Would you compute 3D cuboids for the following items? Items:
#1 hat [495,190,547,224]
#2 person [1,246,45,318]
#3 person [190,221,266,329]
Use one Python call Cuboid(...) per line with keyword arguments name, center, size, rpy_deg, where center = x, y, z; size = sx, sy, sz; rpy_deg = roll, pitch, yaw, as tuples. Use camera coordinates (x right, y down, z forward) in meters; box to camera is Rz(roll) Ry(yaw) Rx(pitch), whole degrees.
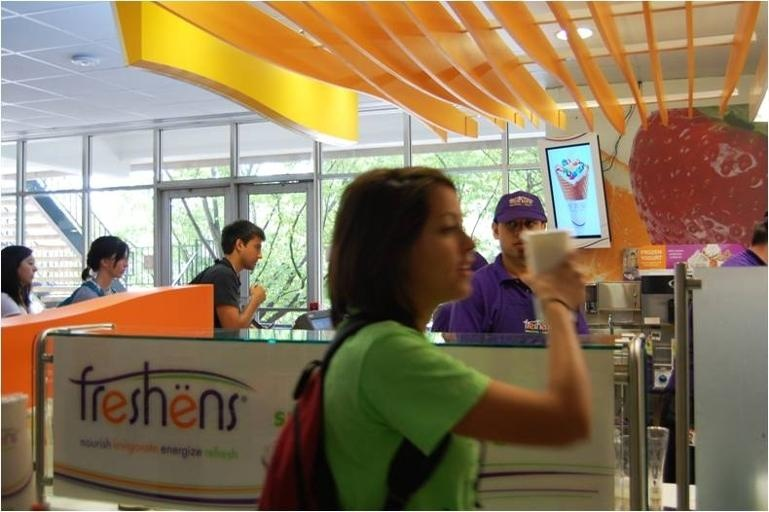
Cuboid(name="hat", center=(0.838, -0.308, 4.155), size=(0.310, 0.191, 0.404), rpy_deg=(-1, 4, 1))
Cuboid(name="person", center=(-2.923, 0.187, 5.434), size=(0.244, 0.574, 2.717), rpy_deg=(0, -3, -27))
Cuboid(name="person", center=(-1.166, 0.121, 5.070), size=(0.503, 0.830, 0.915), rpy_deg=(-1, -2, -6))
